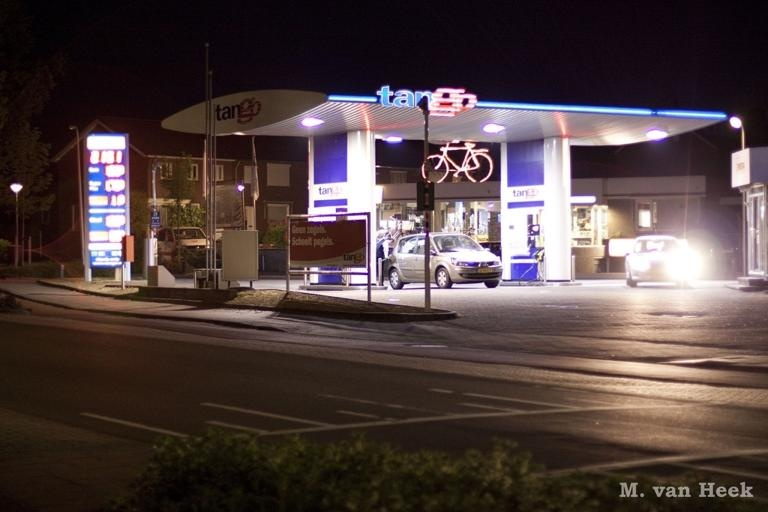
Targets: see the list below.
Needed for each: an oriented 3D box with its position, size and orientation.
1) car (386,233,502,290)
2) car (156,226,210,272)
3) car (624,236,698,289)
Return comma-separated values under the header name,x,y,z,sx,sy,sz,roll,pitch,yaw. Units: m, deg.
name,x,y,z,sx,sy,sz,roll,pitch,yaw
car,2.258,0.293,32.319,2.367,1.777,3.879,0,-3,-41
car,-13.050,-0.435,49.564,2.505,2.881,4.605,-6,4,-43
car,11.868,0.276,33.212,2.608,2.225,1.885,-3,3,-2
